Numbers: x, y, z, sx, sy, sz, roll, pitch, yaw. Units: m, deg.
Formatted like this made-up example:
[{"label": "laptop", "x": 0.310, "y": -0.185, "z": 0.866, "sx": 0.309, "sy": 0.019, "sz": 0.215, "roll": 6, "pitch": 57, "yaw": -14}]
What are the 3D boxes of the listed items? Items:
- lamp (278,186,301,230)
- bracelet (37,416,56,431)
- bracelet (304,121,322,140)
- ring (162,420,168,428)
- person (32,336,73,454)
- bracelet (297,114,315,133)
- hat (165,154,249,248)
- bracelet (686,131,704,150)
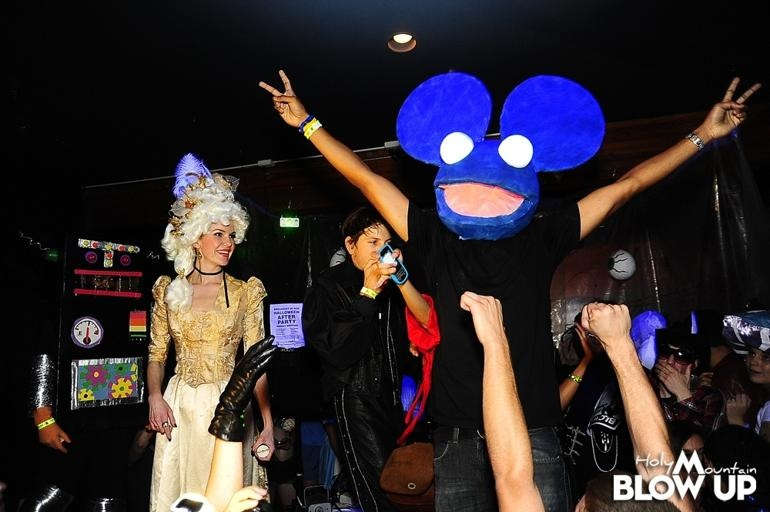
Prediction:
[{"label": "lamp", "x": -1.380, "y": -0.694, "z": 7.932, "sx": 0.303, "sy": 0.634, "sz": 0.169, "roll": 2, "pitch": 24, "yaw": 21}, {"label": "bracelet", "x": -2.975, "y": 1.469, "z": 4.913, "sx": 0.131, "sy": 0.111, "sz": 0.126, "roll": 11, "pitch": -21, "yaw": -43}, {"label": "bracelet", "x": -0.494, "y": -0.870, "z": 3.879, "sx": 0.109, "sy": 0.129, "sz": 0.062, "roll": -11, "pitch": -34, "yaw": 43}, {"label": "ring", "x": -1.724, "y": 1.309, "z": 4.358, "sx": 0.042, "sy": 0.061, "sz": 0.018, "roll": 2, "pitch": -2, "yaw": -19}, {"label": "person", "x": -2.992, "y": 1.291, "z": 5.002, "sx": 0.456, "sy": 0.877, "sz": 0.325, "roll": -14, "pitch": -18, "yaw": 37}, {"label": "bracelet", "x": -0.558, "y": -0.934, "z": 3.901, "sx": 0.113, "sy": 0.094, "sz": 0.041, "roll": -47, "pitch": -59, "yaw": 7}, {"label": "hat", "x": -1.508, "y": -0.480, "z": 4.853, "sx": 0.573, "sy": 0.833, "sz": 0.421, "roll": 12, "pitch": 10, "yaw": 19}, {"label": "bracelet", "x": 2.131, "y": -0.784, "z": 3.833, "sx": 0.108, "sy": 0.114, "sz": 0.029, "roll": 19, "pitch": -44, "yaw": -31}]
